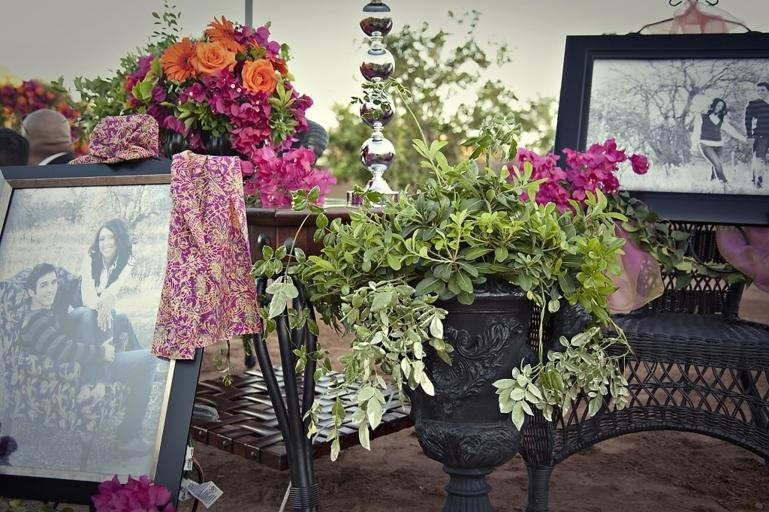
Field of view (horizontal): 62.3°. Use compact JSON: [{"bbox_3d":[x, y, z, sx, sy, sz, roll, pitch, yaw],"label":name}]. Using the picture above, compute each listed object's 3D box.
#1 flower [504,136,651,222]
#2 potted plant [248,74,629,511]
[{"bbox_3d":[0.711,-0.314,2.333,0.389,0.395,0.234,13,-14,9],"label":"flower"},{"bbox_3d":[0.239,0.145,2.295,1.139,1.300,1.209,0,-7,0],"label":"potted plant"}]
